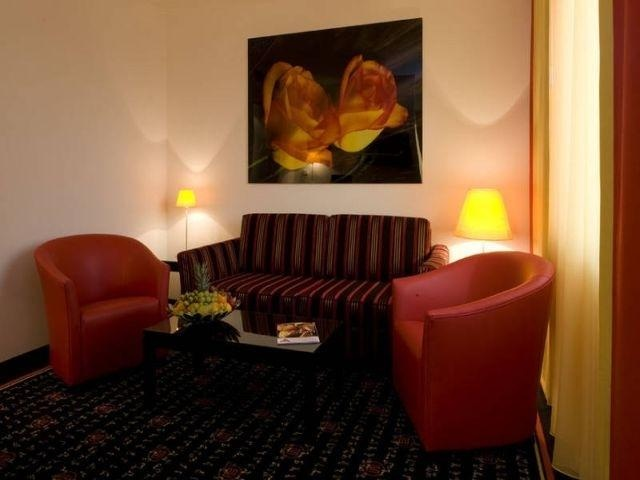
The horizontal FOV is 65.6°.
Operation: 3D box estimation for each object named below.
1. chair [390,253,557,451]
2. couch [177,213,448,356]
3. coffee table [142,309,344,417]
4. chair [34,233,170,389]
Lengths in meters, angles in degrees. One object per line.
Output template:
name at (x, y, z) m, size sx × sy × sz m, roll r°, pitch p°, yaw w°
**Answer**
chair at (0.943, 0.594, 3.108) m, size 0.842 × 1.022 × 0.931 m, roll 0°, pitch 8°, yaw -1°
couch at (-0.094, 0.391, 4.384) m, size 2.253 × 1.185 × 1.049 m, roll 3°, pitch 10°, yaw 24°
coffee table at (-0.532, 0.784, 3.257) m, size 1.233 × 0.482 × 0.498 m, roll -2°, pitch 8°, yaw 16°
chair at (-1.657, 0.475, 3.795) m, size 0.841 × 0.983 × 0.872 m, roll 2°, pitch 6°, yaw 29°
